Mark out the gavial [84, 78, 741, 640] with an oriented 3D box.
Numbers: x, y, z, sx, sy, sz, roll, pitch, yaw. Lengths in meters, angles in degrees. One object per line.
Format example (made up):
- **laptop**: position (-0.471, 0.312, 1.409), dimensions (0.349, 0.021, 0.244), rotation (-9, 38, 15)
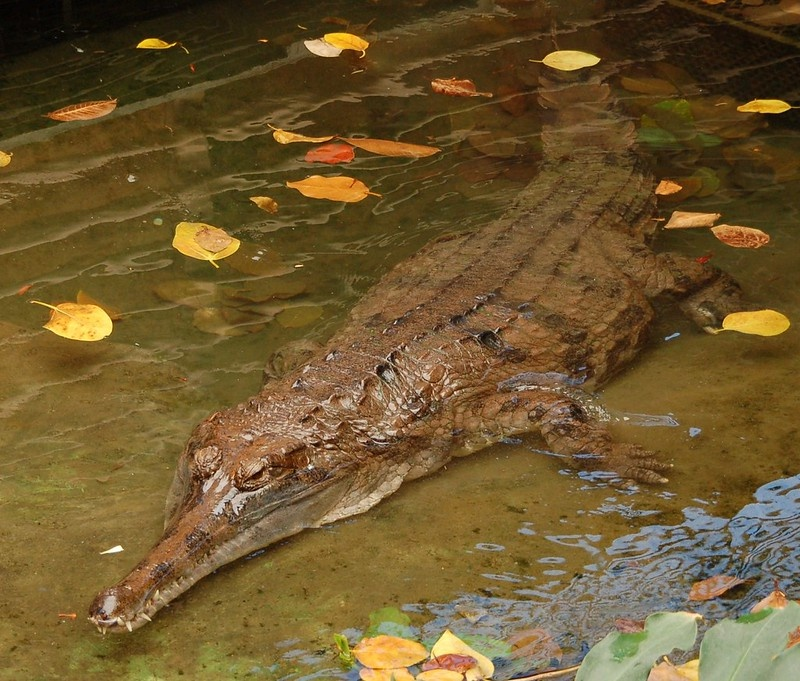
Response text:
- **gavial**: position (0.162, 0.140, 5.434), dimensions (3.860, 0.523, 2.053), rotation (-29, 40, -25)
